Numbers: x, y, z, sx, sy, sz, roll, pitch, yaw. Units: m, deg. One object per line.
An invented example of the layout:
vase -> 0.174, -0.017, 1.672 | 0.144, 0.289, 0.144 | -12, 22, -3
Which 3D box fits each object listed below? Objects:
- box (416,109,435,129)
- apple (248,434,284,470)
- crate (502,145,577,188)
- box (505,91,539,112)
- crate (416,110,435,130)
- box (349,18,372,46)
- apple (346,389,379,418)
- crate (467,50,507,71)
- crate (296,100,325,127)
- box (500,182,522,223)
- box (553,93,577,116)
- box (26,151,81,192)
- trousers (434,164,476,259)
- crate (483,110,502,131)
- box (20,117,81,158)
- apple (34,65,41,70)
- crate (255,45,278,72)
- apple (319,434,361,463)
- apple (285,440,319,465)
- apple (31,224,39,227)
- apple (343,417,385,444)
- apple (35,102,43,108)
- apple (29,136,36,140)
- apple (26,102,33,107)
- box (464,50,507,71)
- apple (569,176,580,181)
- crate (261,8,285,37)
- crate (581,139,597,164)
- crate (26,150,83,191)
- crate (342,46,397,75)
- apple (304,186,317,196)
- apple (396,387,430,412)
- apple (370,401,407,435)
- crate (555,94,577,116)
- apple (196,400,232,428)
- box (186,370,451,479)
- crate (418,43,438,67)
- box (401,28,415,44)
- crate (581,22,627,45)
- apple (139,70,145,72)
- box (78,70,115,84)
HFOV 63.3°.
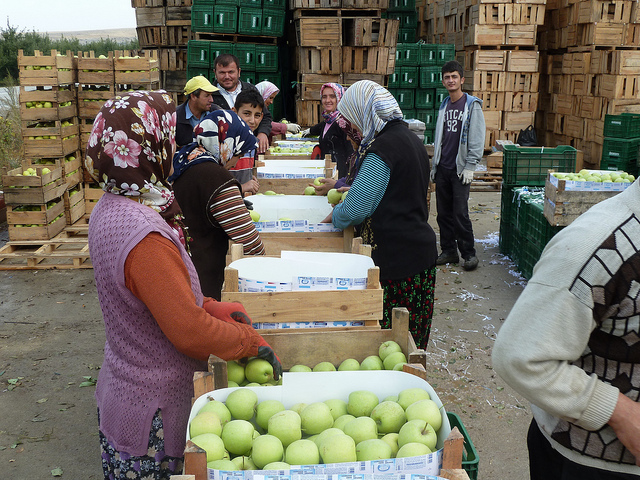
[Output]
box -> 2.744, -3.197, 13.645 | 0.460, 0.464, 0.474 | 3, 11, 12
apple -> -0.222, 0.864, 2.148 | 0.128, 0.093, 0.145 | -3, 18, -4
crate -> 3.403, -1.188, 8.190 | 0.994, 0.535, 0.619 | 0, 14, 8
box -> 5.237, -3.622, 13.585 | 0.578, 0.370, 0.591 | 3, 9, 7
crate -> 2.760, -3.183, 13.761 | 0.457, 0.292, 0.468 | -1, 6, 0
box -> 0.863, -4.528, 11.294 | 0.489, 0.570, 0.265 | 1, 19, 9
apple -> 0.187, 0.750, 2.382 | 0.128, 0.114, 0.105 | -5, -1, -6
crate -> 4.333, -4.604, 13.312 | 0.848, 0.509, 0.288 | -7, 19, -14
crate -> -0.281, -2.904, 11.906 | 0.663, 0.610, 0.318 | 2, 19, 13
box -> 2.987, -0.592, 8.106 | 0.328, 0.436, 0.600 | -1, 14, 4
box -> 6.425, -3.578, 13.631 | 0.426, 0.583, 0.557 | -4, 13, -9
box -> -4.437, -1.223, 8.792 | 0.634, 0.410, 0.645 | 1, 19, -2
trousers -> 2.026, -0.438, 7.862 | 0.704, 1.368, 0.417 | 6, 20, 24
crate -> 4.515, -3.172, 13.704 | 0.592, 0.620, 0.452 | 0, 8, 15
box -> -4.527, -1.768, 9.017 | 0.653, 0.707, 1.216 | -1, 7, -1
apple -> -4.487, -2.731, 8.214 | 0.057, 0.032, 0.058 | -2, -2, 3
crate -> -1.214, -4.103, 11.789 | 0.538, 0.520, 0.546 | -1, 15, -3
apple -> 0.069, 0.839, 2.083 | 0.143, 0.119, 0.122 | -7, -21, -9
apple -> -0.076, 0.859, 2.100 | 0.094, 0.097, 0.089 | 8, -20, 38
apple -> -4.488, -0.232, 8.138 | 0.048, 0.036, 0.061 | 3, 4, 3
apple -> 0.167, 0.813, 2.229 | 0.146, 0.071, 0.130 | 0, 19, 6
apple -> -4.569, -2.183, 8.408 | 0.087, 0.047, 0.089 | 0, 35, -3
apple -> -4.703, -1.667, 8.452 | 0.056, 0.041, 0.072 | -3, 9, 5
apple -> -4.726, -2.197, 8.400 | 0.073, 0.062, 0.062 | 3, -31, -17
box -> 4.275, -4.582, 13.524 | 0.862, 0.472, 0.641 | 0, 19, 1
apple -> 3.065, -0.742, 6.264 | 0.077, 0.050, 0.090 | 0, -1, 20
crate -> -1.159, -5.002, 12.068 | 0.551, 0.550, 0.546 | -2, 14, -23
crate -> 6.426, -2.137, 12.425 | 0.173, 0.517, 0.812 | 2, 19, 12
crate -> -4.456, -1.279, 8.852 | 0.712, 0.458, 0.723 | 0, 18, -2
crate -> 1.070, -4.028, 11.702 | 0.964, 0.516, 0.687 | -2, 15, -25
apple -> -0.093, -0.451, 4.847 | 0.115, 0.100, 0.099 | -7, 59, -1
apple -> 0.415, 0.719, 2.396 | 0.113, 0.098, 0.091 | -10, 21, -9
apple -> 0.300, 0.799, 2.325 | 0.114, 0.143, 0.119 | -3, -6, 37
crate -> 6.425, -3.544, 13.564 | 0.365, 0.526, 0.671 | 1, 30, 2
apple -> -0.462, 0.732, 2.249 | 0.115, 0.101, 0.102 | -8, -4, 34
box -> 0.050, 0.736, 2.301 | 0.713, 0.269, 0.506 | 0, 10, -4
crate -> 2.772, -4.773, 13.332 | 0.501, 0.526, 0.317 | 1, -2, 14
box -> 2.807, -6.614, 16.743 | 0.434, 0.434, 0.568 | 0, 19, 7
crate -> 6.791, -4.895, 12.394 | 0.653, 0.422, 0.668 | -1, 19, 3
apple -> -2.979, -2.825, 8.659 | 0.048, 0.029, 0.034 | -2, 2, -6
box -> -3.713, -2.705, 8.748 | 0.389, 0.171, 0.283 | -1, 20, -5
